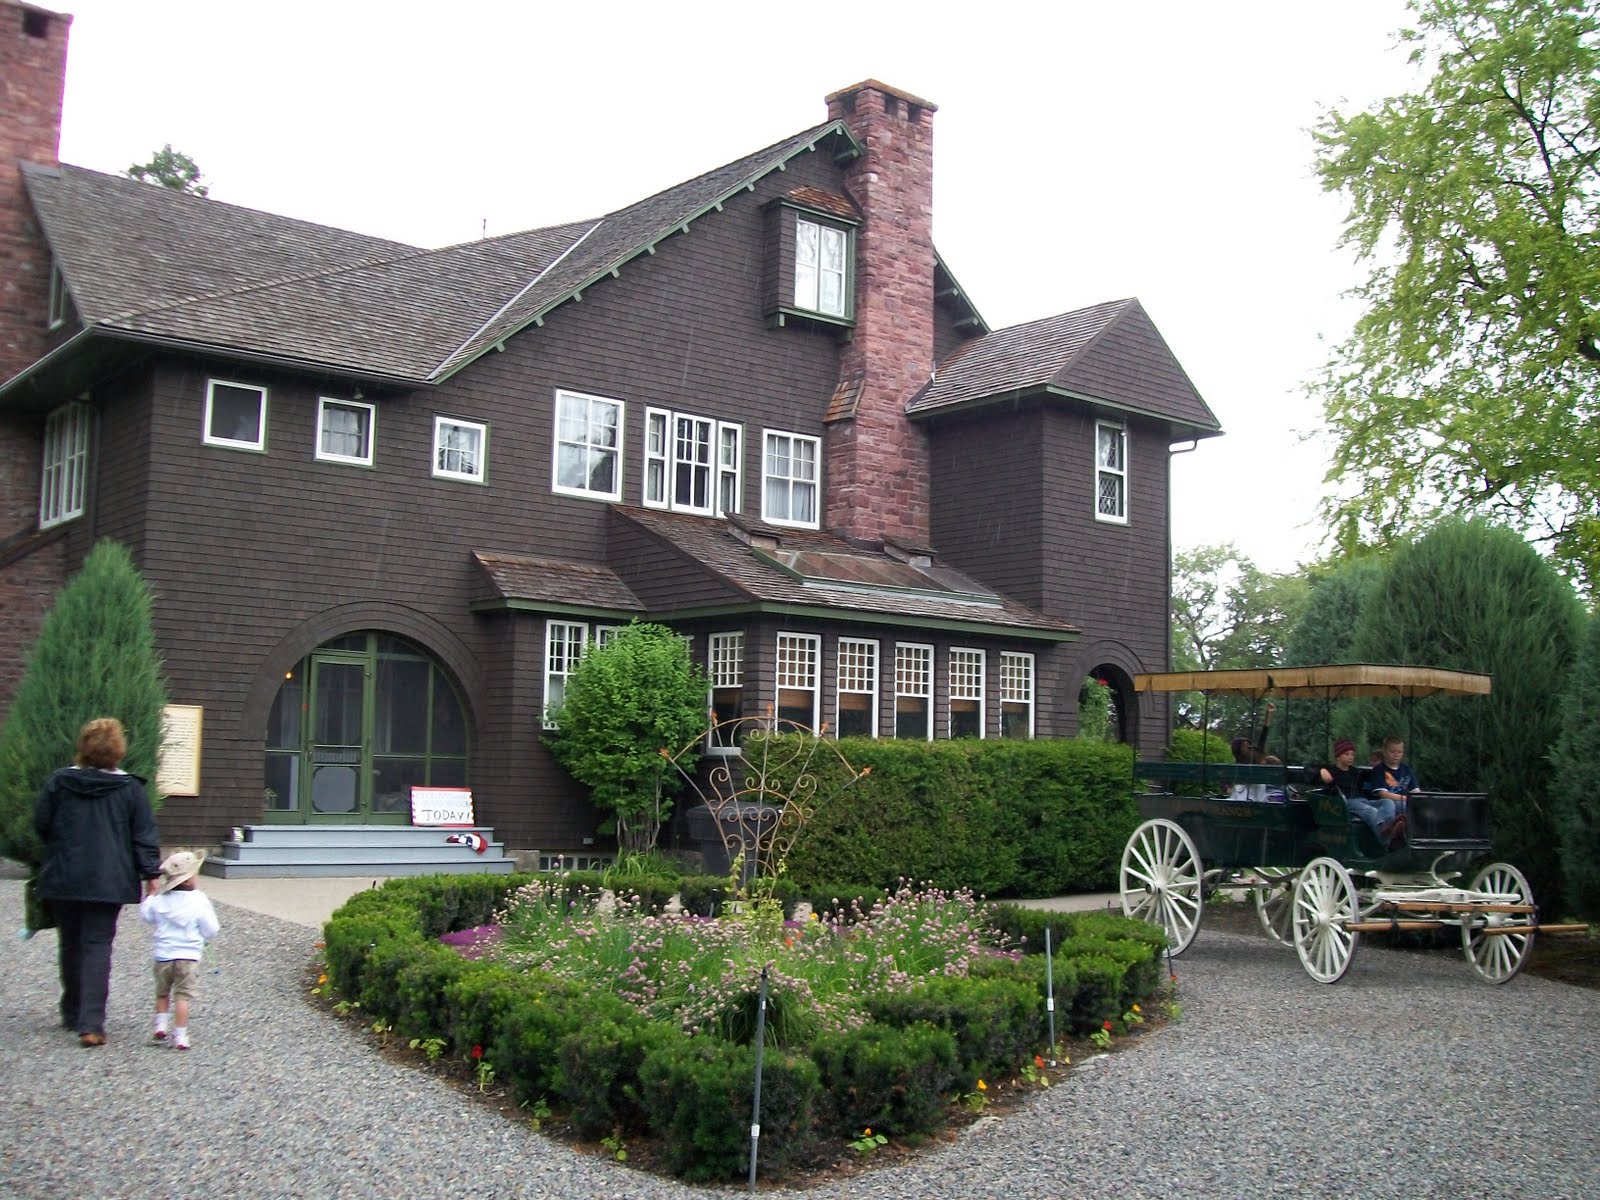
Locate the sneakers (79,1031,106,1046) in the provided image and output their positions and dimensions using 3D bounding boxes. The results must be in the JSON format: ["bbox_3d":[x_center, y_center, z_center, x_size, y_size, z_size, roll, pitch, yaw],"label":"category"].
[{"bbox_3d":[-5.173,3.190,10.122,0.163,0.118,0.144,0,7,-25],"label":"sneakers"}]

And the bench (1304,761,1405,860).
[{"bbox_3d":[5.877,2.127,14.459,0.901,0.326,0.910,1,18,-8],"label":"bench"}]
